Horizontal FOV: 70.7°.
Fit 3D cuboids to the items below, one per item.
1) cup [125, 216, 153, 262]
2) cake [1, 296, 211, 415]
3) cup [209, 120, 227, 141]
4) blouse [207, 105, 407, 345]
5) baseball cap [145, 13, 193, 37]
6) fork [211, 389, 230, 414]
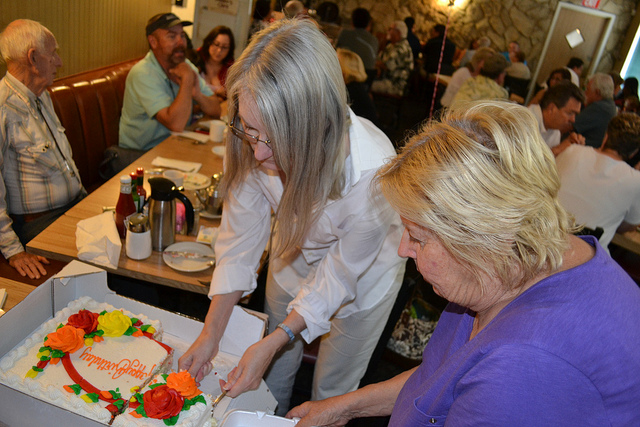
[{"bbox_3d":[-0.782,0.101,2.001,0.136,0.186,0.171,-3,29,-23],"label":"cup"},{"bbox_3d":[-0.674,0.491,1.471,0.668,0.116,0.384,18,23,11],"label":"cake"},{"bbox_3d":[-0.729,-0.590,3.192,0.090,0.107,0.148,5,35,-3],"label":"cup"},{"bbox_3d":[-0.051,0.075,1.674,0.443,0.657,0.772,36,61,18],"label":"blouse"},{"bbox_3d":[-1.069,-1.294,3.137,0.277,0.096,0.181,-14,17,1],"label":"baseball cap"},{"bbox_3d":[-0.336,0.618,1.480,0.025,0.075,0.011,36,-17,-7],"label":"fork"}]
